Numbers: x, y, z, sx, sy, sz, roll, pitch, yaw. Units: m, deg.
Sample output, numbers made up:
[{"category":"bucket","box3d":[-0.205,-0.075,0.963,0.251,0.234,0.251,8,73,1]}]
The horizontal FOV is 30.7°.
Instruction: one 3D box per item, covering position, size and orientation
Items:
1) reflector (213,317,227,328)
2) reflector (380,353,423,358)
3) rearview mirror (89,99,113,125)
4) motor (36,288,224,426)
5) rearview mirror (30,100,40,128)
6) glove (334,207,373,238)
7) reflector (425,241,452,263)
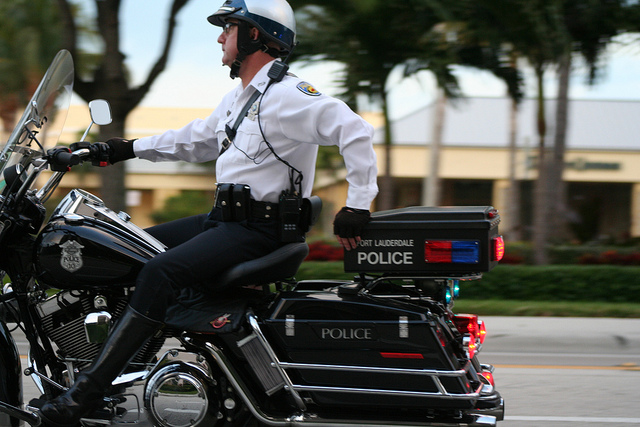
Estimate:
[{"category":"reflector","box3d":[-1.088,1.152,12.309,0.145,0.089,0.018,1,-1,-3]},{"category":"reflector","box3d":[0.857,1.482,12.156,0.442,0.052,0.043,3,-4,3]},{"category":"rearview mirror","box3d":[-2.443,-1.113,12.693,0.261,0.242,0.154,2,-1,-23]},{"category":"motor","box3d":[-1.991,1.551,12.318,2.027,1.463,0.741,-3,13,10]},{"category":"rearview mirror","box3d":[-3.123,-1.085,12.606,0.091,0.278,0.077,-12,0,-7]},{"category":"glove","box3d":[0.303,0.087,12.201,0.409,0.298,0.170,7,1,8]},{"category":"reflector","box3d":[1.205,0.405,12.216,0.456,0.229,0.220,0,-5,4]}]
